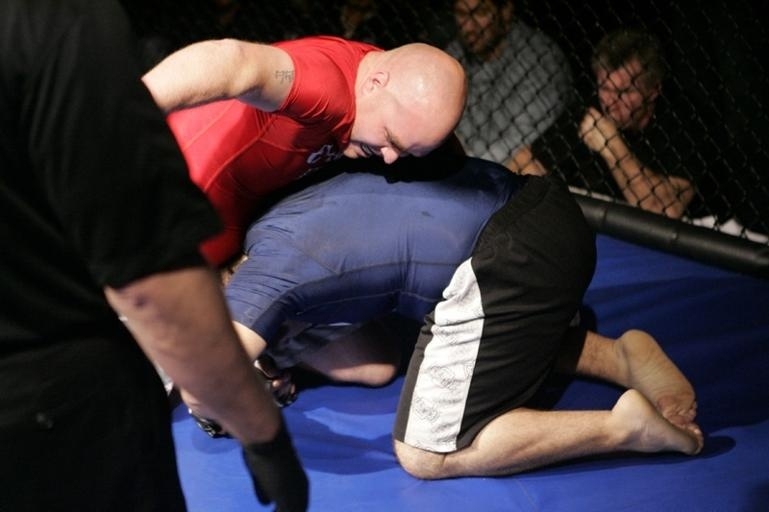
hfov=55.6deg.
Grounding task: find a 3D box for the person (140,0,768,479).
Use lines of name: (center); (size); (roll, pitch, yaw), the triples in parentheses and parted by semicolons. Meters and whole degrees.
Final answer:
person: (0.283, 0.083, 2.028); (1.100, 0.621, 0.857); (5, 14, 17)
